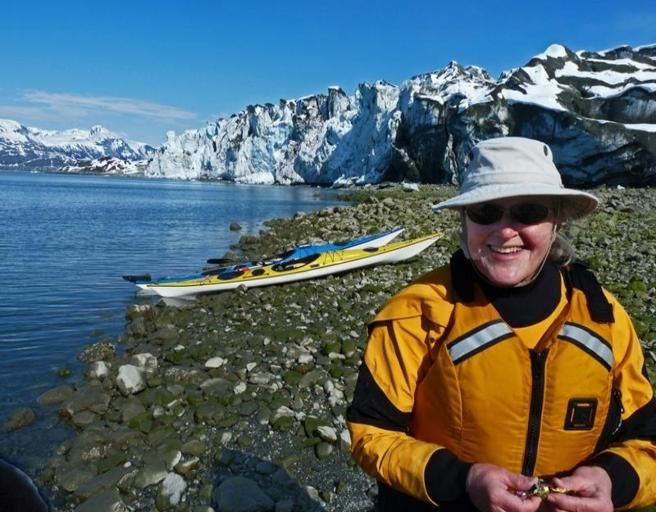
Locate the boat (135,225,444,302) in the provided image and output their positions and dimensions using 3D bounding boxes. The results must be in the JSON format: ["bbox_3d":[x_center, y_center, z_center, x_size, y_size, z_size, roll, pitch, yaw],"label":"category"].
[{"bbox_3d":[-1.296,0.219,17.553,9.160,1.038,1.663,-10,4,-2],"label":"boat"}]
